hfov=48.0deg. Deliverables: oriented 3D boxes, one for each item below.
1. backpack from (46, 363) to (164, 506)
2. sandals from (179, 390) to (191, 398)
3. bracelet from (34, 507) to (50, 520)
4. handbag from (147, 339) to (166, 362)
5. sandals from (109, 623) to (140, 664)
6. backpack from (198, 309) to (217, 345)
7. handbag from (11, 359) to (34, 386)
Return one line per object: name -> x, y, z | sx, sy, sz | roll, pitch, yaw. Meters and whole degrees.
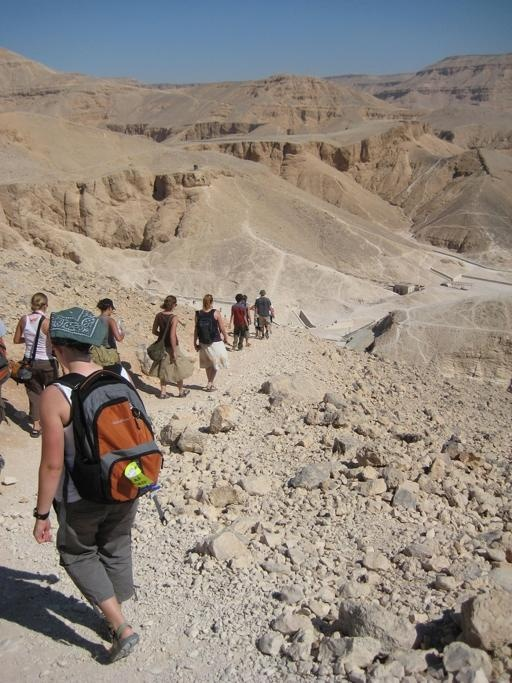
backpack -> -0.605, 0.393, 2.406 | 0.348, 0.518, 0.279 | 2, 14, 24
sandals -> -0.872, 0.626, 6.986 | 0.052, 0.060, 0.139 | 8, 25, 16
bracelet -> -0.906, 0.731, 2.430 | 0.072, 0.033, 0.054 | 8, -1, -45
handbag -> -1.092, 0.099, 6.369 | 0.207, 0.220, 0.076 | 0, 13, 13
sandals -> -0.581, 1.312, 2.509 | 0.104, 0.210, 0.096 | 24, 30, -20
backpack -> -0.534, -0.155, 6.333 | 0.254, 0.415, 0.168 | -5, 13, -5
handbag -> -1.959, 0.269, 4.795 | 0.164, 0.225, 0.178 | 5, 15, 34
